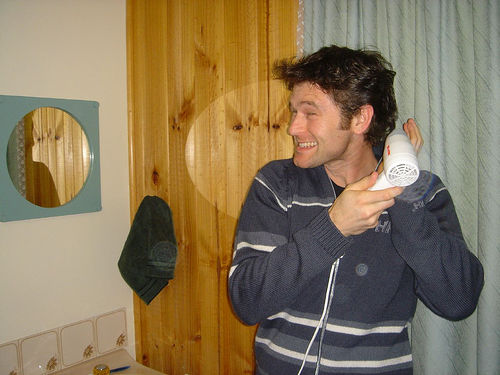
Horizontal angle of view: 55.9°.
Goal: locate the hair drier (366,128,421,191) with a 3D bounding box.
[{"bbox_3d":[0.444,-0.089,1.483,0.144,0.158,0.107,-2,-2,-5],"label":"hair drier"}]
